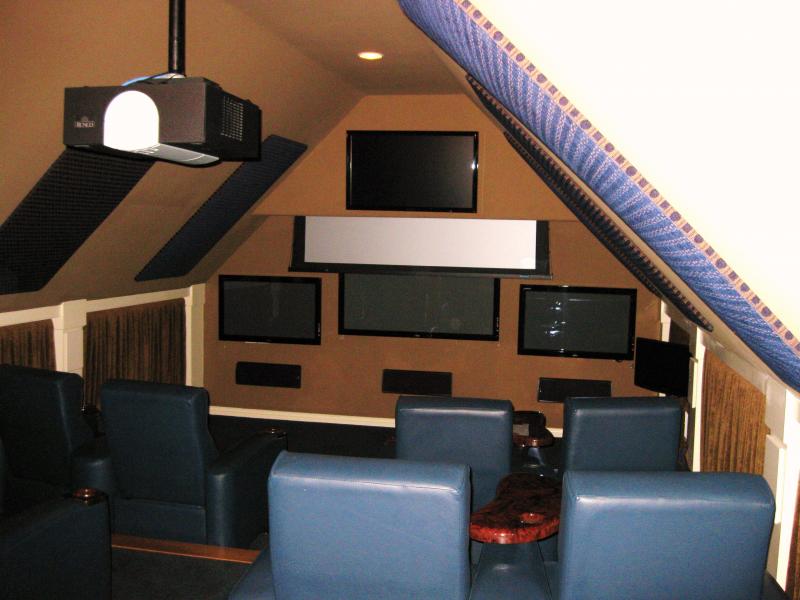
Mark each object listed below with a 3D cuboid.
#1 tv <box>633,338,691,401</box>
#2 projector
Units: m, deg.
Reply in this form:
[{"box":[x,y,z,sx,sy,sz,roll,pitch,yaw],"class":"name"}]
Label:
[{"box":[1.883,0.476,5.387,0.069,0.338,0.469,-2,1,-19],"class":"tv"},{"box":[-1.103,-0.821,3.419,0.781,0.338,0.487,2,1,8],"class":"projector"}]
